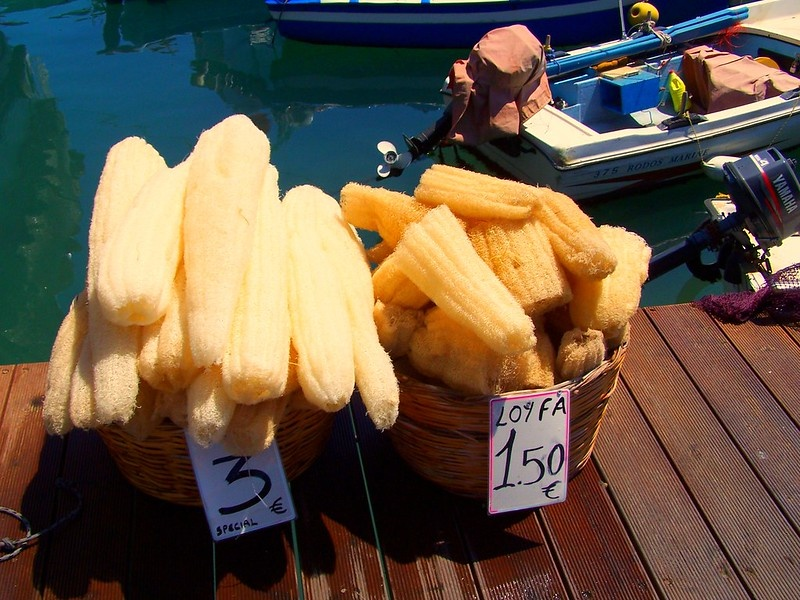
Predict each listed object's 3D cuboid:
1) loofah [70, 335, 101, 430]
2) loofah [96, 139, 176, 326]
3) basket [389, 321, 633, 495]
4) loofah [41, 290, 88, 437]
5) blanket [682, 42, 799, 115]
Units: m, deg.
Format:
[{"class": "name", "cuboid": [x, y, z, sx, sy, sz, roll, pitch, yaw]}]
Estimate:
[{"class": "loofah", "cuboid": [-0.772, 0.201, 1.450, 0.059, 0.207, 0.057, -19, -22, 12]}, {"class": "loofah", "cuboid": [-0.743, -0.218, 1.698, 0.261, 0.570, 0.186, 5, -24, -34]}, {"class": "basket", "cuboid": [0.263, 0.421, 1.922, 0.804, 0.411, 0.853, 10, -25, -23]}, {"class": "loofah", "cuboid": [-0.838, 0.171, 1.551, 0.097, 0.382, 0.106, 7, -25, -26]}, {"class": "blanket", "cuboid": [2.649, -1.621, 4.765, 0.772, 0.287, 0.567, -15, 54, -7]}]
